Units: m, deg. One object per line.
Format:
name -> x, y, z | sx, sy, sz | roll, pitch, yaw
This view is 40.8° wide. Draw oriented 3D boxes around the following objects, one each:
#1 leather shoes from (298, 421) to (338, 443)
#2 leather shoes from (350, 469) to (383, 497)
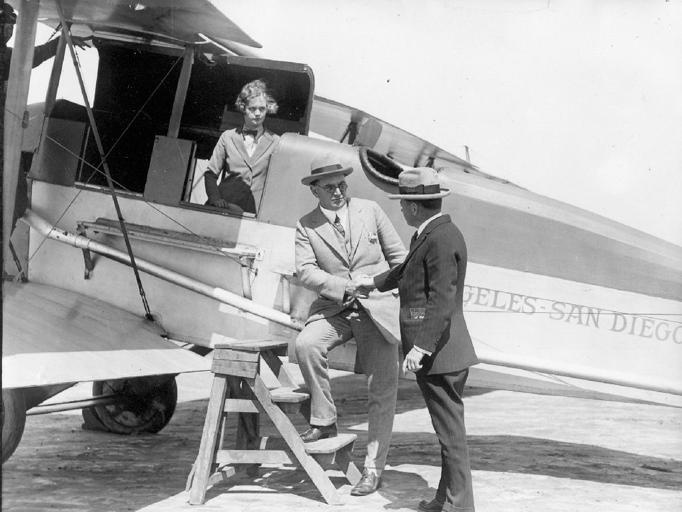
leather shoes -> -0.200, 1.492, 7.784 | 0.351, 0.149, 0.124 | 1, 0, -21
leather shoes -> 0.204, 1.886, 7.585 | 0.120, 0.143, 0.338 | -1, -6, 25
